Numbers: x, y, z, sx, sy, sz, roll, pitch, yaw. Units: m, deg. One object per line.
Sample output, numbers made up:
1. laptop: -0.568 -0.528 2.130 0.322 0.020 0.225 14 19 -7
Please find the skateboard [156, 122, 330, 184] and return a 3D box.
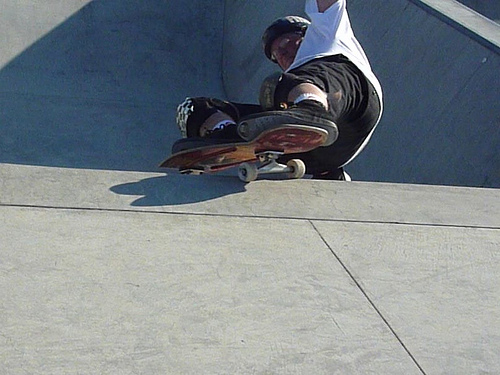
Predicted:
1. skateboard: -0.094 -0.183 6.477 0.497 0.355 1.492 1 -3 -41
